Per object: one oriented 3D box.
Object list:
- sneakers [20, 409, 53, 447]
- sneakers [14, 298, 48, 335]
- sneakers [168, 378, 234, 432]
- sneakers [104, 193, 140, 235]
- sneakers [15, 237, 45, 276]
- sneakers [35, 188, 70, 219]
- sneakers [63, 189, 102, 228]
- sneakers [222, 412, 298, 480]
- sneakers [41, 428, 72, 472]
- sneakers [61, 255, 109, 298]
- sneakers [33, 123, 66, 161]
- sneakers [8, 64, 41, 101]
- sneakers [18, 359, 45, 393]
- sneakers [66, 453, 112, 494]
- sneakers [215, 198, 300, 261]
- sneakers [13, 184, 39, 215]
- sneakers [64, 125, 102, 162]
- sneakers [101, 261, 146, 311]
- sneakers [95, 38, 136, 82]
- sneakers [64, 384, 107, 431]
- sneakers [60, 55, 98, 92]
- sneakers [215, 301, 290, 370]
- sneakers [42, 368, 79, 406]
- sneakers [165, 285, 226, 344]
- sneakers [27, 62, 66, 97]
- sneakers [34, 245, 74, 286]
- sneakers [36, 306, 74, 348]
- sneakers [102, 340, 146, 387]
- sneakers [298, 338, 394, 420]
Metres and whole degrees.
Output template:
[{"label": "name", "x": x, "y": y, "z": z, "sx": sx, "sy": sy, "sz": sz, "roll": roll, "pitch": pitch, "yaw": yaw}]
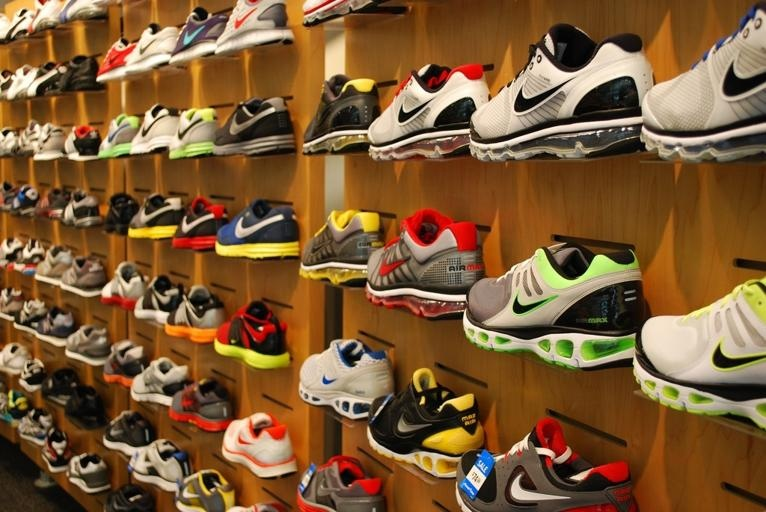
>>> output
[{"label": "sneakers", "x": -2.513, "y": 1.212, "z": 4.450, "sx": 0.171, "sy": 0.221, "sz": 0.404, "roll": -3, "pitch": 11, "yaw": -34}, {"label": "sneakers", "x": -2.602, "y": 0.434, "z": 4.519, "sx": 0.148, "sy": 0.179, "sz": 0.363, "roll": 0, "pitch": 7, "yaw": -28}, {"label": "sneakers", "x": -1.010, "y": 0.803, "z": 3.378, "sx": 0.383, "sy": 0.223, "sz": 0.186, "roll": 10, "pitch": 13, "yaw": 41}, {"label": "sneakers", "x": -1.592, "y": -0.262, "z": 3.750, "sx": 0.138, "sy": 0.165, "sz": 0.329, "roll": -3, "pitch": 13, "yaw": -13}, {"label": "sneakers", "x": -2.597, "y": 0.004, "z": 4.514, "sx": 0.138, "sy": 0.201, "sz": 0.383, "roll": -2, "pitch": 6, "yaw": -32}, {"label": "sneakers", "x": -2.244, "y": -0.369, "z": 4.181, "sx": 0.147, "sy": 0.192, "sz": 0.371, "roll": -9, "pitch": 14, "yaw": -29}, {"label": "sneakers", "x": -1.983, "y": -0.311, "z": 4.031, "sx": 0.261, "sy": 0.246, "sz": 0.252, "roll": -2, "pitch": -1, "yaw": -21}, {"label": "sneakers", "x": -0.600, "y": 0.944, "z": 3.035, "sx": 0.215, "sy": 0.221, "sz": 0.452, "roll": -4, "pitch": 13, "yaw": -29}, {"label": "sneakers", "x": -2.235, "y": 1.349, "z": 4.240, "sx": 0.145, "sy": 0.193, "sz": 0.390, "roll": -3, "pitch": 15, "yaw": -22}, {"label": "sneakers", "x": -1.955, "y": 0.122, "z": 4.031, "sx": 0.172, "sy": 0.187, "sz": 0.386, "roll": -5, "pitch": 11, "yaw": -31}, {"label": "sneakers", "x": -2.271, "y": -0.777, "z": 4.189, "sx": 0.131, "sy": 0.183, "sz": 0.352, "roll": -5, "pitch": 13, "yaw": -24}, {"label": "sneakers", "x": -2.634, "y": -1.245, "z": 4.475, "sx": 0.177, "sy": 0.243, "sz": 0.490, "roll": -32, "pitch": 20, "yaw": -19}, {"label": "sneakers", "x": -2.571, "y": 0.875, "z": 4.531, "sx": 0.158, "sy": 0.199, "sz": 0.385, "roll": -2, "pitch": 10, "yaw": -26}, {"label": "sneakers", "x": -1.907, "y": 1.433, "z": 3.988, "sx": 0.151, "sy": 0.166, "sz": 0.340, "roll": -3, "pitch": 16, "yaw": -32}, {"label": "sneakers", "x": -0.608, "y": -0.136, "z": 3.022, "sx": 0.207, "sy": 0.244, "sz": 0.407, "roll": -4, "pitch": 7, "yaw": -44}, {"label": "sneakers", "x": -2.589, "y": -0.417, "z": 4.466, "sx": 0.145, "sy": 0.185, "sz": 0.354, "roll": -7, "pitch": 14, "yaw": -29}, {"label": "sneakers", "x": -1.885, "y": -0.702, "z": 3.842, "sx": 0.143, "sy": 0.151, "sz": 0.316, "roll": -5, "pitch": 15, "yaw": -25}, {"label": "sneakers", "x": -1.570, "y": 0.177, "z": 3.728, "sx": 0.180, "sy": 0.253, "sz": 0.349, "roll": -5, "pitch": 12, "yaw": -33}, {"label": "sneakers", "x": -1.611, "y": -1.171, "z": 3.696, "sx": 0.164, "sy": 0.217, "sz": 0.414, "roll": -13, "pitch": 11, "yaw": -30}, {"label": "sneakers", "x": -1.977, "y": 1.024, "z": 4.105, "sx": 0.175, "sy": 0.163, "sz": 0.339, "roll": -7, "pitch": 19, "yaw": -29}, {"label": "sneakers", "x": -1.944, "y": -1.190, "z": 3.953, "sx": 0.302, "sy": 0.264, "sz": 0.168, "roll": -3, "pitch": -2, "yaw": 42}, {"label": "sneakers", "x": -0.675, "y": 0.360, "z": 3.115, "sx": 0.237, "sy": 0.281, "sz": 0.389, "roll": -4, "pitch": 12, "yaw": -43}, {"label": "sneakers", "x": -2.249, "y": 0.910, "z": 4.298, "sx": 0.183, "sy": 0.197, "sz": 0.412, "roll": -4, "pitch": 9, "yaw": -30}, {"label": "sneakers", "x": -1.019, "y": 0.298, "z": 3.383, "sx": 0.208, "sy": 0.272, "sz": 0.356, "roll": -4, "pitch": 10, "yaw": -43}, {"label": "sneakers", "x": -2.313, "y": -1.228, "z": 4.231, "sx": 0.462, "sy": 0.255, "sz": 0.156, "roll": -3, "pitch": -2, "yaw": 42}, {"label": "sneakers", "x": -2.291, "y": 0.065, "z": 4.281, "sx": 0.180, "sy": 0.202, "sz": 0.385, "roll": -18, "pitch": 17, "yaw": -33}, {"label": "sneakers", "x": -2.302, "y": 0.496, "z": 4.318, "sx": 0.164, "sy": 0.180, "sz": 0.378, "roll": -5, "pitch": 12, "yaw": -27}, {"label": "sneakers", "x": -1.604, "y": 0.682, "z": 3.811, "sx": 0.161, "sy": 0.208, "sz": 0.385, "roll": -5, "pitch": 11, "yaw": -23}, {"label": "sneakers", "x": -0.168, "y": 0.548, "z": 2.738, "sx": 0.231, "sy": 0.253, "sz": 0.441, "roll": -8, "pitch": 16, "yaw": -39}]
